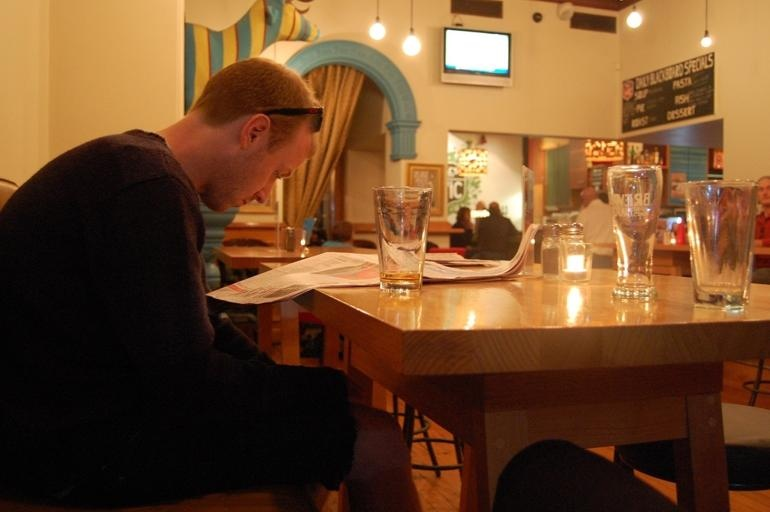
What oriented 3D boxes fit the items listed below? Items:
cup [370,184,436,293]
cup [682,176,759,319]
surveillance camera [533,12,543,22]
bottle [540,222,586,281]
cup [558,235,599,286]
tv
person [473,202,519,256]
[{"bbox_3d":[0.031,-0.036,1.179,0.156,0.258,0.165,1,-6,0],"label":"cup"},{"bbox_3d":[0.578,-0.029,1.093,0.107,0.207,0.172,4,9,30],"label":"cup"},{"bbox_3d":[1.894,-2.955,7.782,0.146,0.128,0.039,-4,8,-24],"label":"surveillance camera"},{"bbox_3d":[0.429,-0.014,1.444,0.079,0.137,0.134,-2,2,-35],"label":"bottle"},{"bbox_3d":[0.431,-0.002,1.417,0.074,0.124,0.079,8,-20,3],"label":"cup"},{"bbox_3d":[1.079,-2.390,7.489,1.062,0.761,0.589,0,3,-12],"label":"tv"},{"bbox_3d":[1.620,-0.363,9.110,0.758,1.049,0.685,2,12,18],"label":"person"}]
